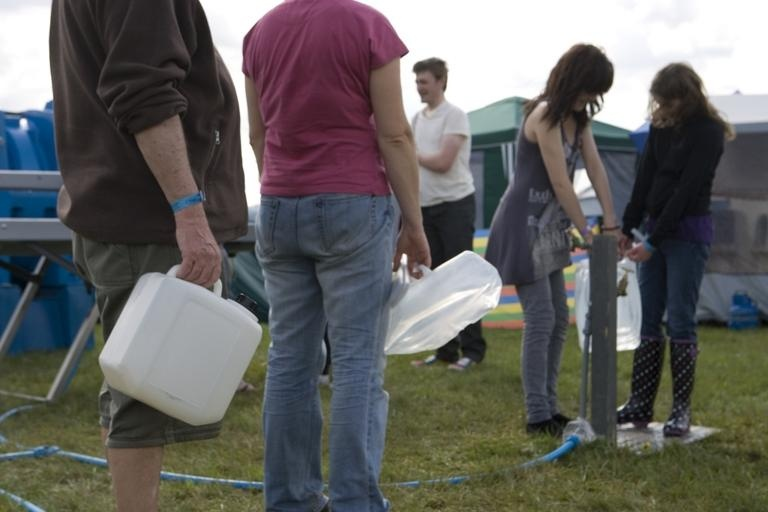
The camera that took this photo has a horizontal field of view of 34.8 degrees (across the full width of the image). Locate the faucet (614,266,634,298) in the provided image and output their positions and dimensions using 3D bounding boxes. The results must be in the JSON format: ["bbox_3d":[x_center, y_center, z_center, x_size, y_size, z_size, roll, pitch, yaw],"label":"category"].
[{"bbox_3d":[1.677,0.190,8.601,0.096,0.201,0.210,1,6,11],"label":"faucet"}]

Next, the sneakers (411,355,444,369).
[{"bbox_3d":[0.353,0.910,10.575,0.283,0.203,0.099,3,1,-5],"label":"sneakers"}]

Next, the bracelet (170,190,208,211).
[{"bbox_3d":[-1.168,-0.314,7.226,0.153,0.057,0.112,-25,3,-3],"label":"bracelet"}]

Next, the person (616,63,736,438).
[{"bbox_3d":[2.044,-0.051,8.741,0.731,2.617,0.476,2,6,14],"label":"person"}]

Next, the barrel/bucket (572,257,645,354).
[{"bbox_3d":[1.574,0.342,8.564,0.559,0.797,0.438,2,-18,-9],"label":"barrel/bucket"}]

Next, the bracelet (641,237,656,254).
[{"bbox_3d":[1.863,-0.073,8.697,0.096,0.041,0.074,40,19,-3],"label":"bracelet"}]

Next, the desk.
[{"bbox_3d":[-1.740,0.384,8.115,0.699,0.893,1.312,6,-6,39],"label":"desk"}]

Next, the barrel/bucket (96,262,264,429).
[{"bbox_3d":[-1.254,0.543,7.290,0.866,0.914,0.349,27,-3,-7],"label":"barrel/bucket"}]

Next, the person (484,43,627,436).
[{"bbox_3d":[1.151,-0.118,8.663,0.904,2.709,0.551,1,6,9],"label":"person"}]

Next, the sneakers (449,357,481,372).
[{"bbox_3d":[0.657,0.920,10.346,0.099,0.112,0.284,-6,-17,34],"label":"sneakers"}]

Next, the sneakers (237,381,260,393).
[{"bbox_3d":[-1.089,1.011,9.592,0.094,0.076,0.151,-23,-42,20],"label":"sneakers"}]

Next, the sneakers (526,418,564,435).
[{"bbox_3d":[1.113,1.194,8.600,0.252,0.110,0.096,-2,-7,8],"label":"sneakers"}]
